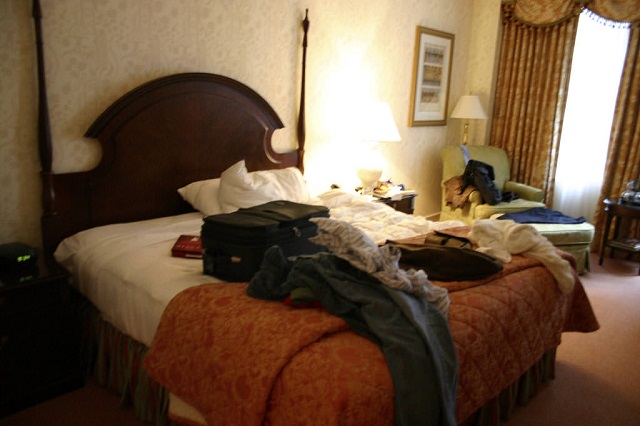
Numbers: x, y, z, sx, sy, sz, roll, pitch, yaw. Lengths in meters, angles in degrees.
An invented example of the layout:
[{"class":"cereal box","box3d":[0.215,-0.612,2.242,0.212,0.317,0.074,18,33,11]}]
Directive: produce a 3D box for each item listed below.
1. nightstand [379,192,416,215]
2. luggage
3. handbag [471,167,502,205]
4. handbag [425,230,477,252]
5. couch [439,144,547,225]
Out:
[{"class":"nightstand","box3d":[0.811,-0.074,4.855,0.269,0.312,0.357,16,24,40]},{"class":"luggage","box3d":[-0.428,0.081,2.801,0.511,0.290,0.686,10,15,40]},{"class":"handbag","box3d":[1.831,-0.271,5.016,0.279,0.427,0.146,-17,-21,-37]},{"class":"handbag","box3d":[0.872,0.189,3.052,0.199,0.066,0.157,13,19,24]},{"class":"couch","box3d":[1.942,-0.431,5.385,1.046,1.184,1.141,-4,9,-22]}]
